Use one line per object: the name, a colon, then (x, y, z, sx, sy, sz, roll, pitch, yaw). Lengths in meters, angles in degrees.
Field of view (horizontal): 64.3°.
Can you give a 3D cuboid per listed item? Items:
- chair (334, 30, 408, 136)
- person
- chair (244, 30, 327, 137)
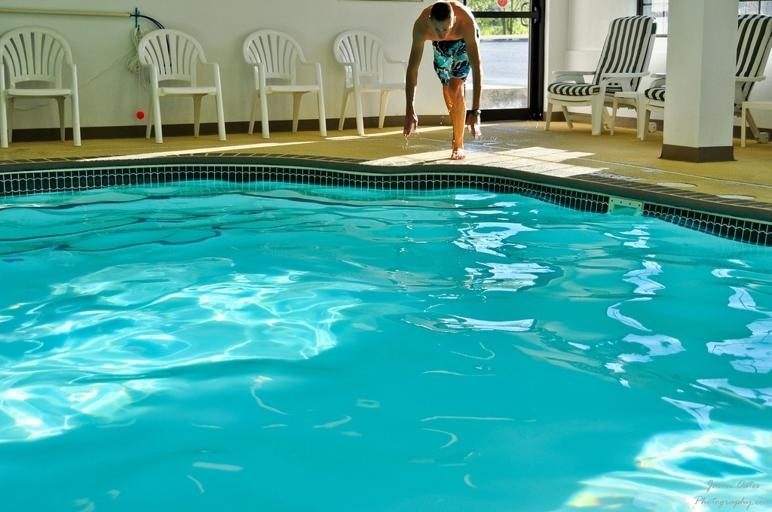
chair: (-0.192, -2.494, 8.645, 1.076, 1.408, 1.114, -2, 16, -8)
person: (0.544, -1.697, 5.836, 0.720, 1.525, 0.941, 1, 16, 6)
chair: (-1.383, -2.343, 8.236, 1.046, 1.408, 1.171, -2, 15, -6)
